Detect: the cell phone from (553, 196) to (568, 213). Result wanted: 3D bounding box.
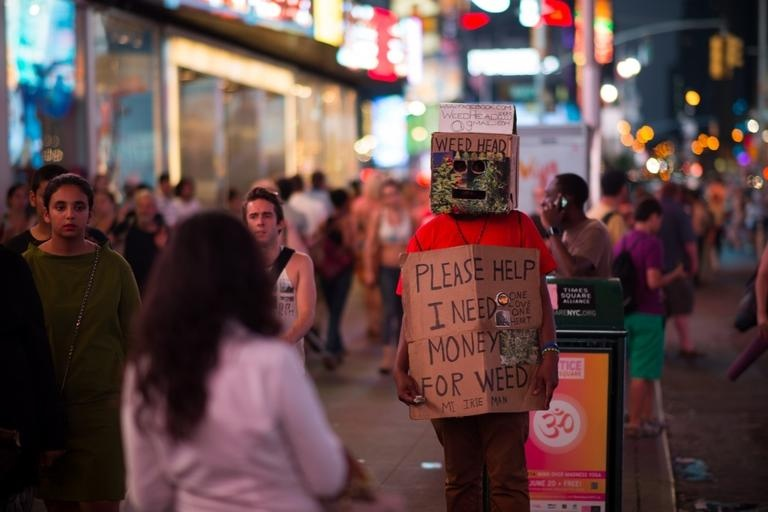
[{"bbox_3d":[1.543,-0.476,9.425,0.069,0.159,0.037,22,-34,0],"label":"cell phone"}]

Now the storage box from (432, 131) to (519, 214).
[{"bbox_3d":[0.663,-0.646,8.122,0.542,0.583,0.609,1,2,7],"label":"storage box"}]
